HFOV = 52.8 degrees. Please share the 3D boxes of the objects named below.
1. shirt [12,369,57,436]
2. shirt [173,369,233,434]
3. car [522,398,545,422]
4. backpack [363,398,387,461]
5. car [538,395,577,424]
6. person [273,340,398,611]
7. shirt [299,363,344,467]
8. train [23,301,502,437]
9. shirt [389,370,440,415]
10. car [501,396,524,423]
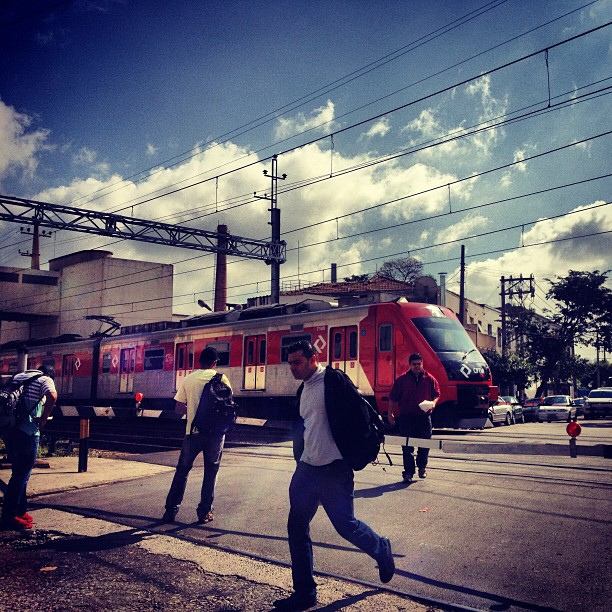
[{"bbox_3d":[-2.895,1.024,6.521,0.430,0.698,0.408,3,-5,-43],"label":"shirt"},{"bbox_3d":[-1.186,1.020,6.660,0.435,0.674,0.310,1,-4,-17],"label":"shirt"},{"bbox_3d":[12.352,5.756,33.685,0.829,0.852,2.152,-1,1,19],"label":"car"},{"bbox_3d":[0.467,0.850,4.306,0.096,0.319,0.246,5,-42,15],"label":"backpack"},{"bbox_3d":[12.722,5.265,31.489,1.595,1.270,2.166,-2,-5,20],"label":"car"},{"bbox_3d":[0.188,1.119,4.270,0.735,1.761,0.540,-1,-4,9],"label":"person"},{"bbox_3d":[0.110,0.787,4.314,0.386,0.850,0.276,-20,-30,40],"label":"shirt"},{"bbox_3d":[-2.707,1.957,19.268,14.757,3.902,2.208,-6,-15,21],"label":"train"},{"bbox_3d":[1.558,1.075,8.354,0.561,0.594,0.320,7,20,29],"label":"shirt"},{"bbox_3d":[10.618,5.342,31.650,1.001,1.092,2.347,-1,0,22],"label":"car"}]
